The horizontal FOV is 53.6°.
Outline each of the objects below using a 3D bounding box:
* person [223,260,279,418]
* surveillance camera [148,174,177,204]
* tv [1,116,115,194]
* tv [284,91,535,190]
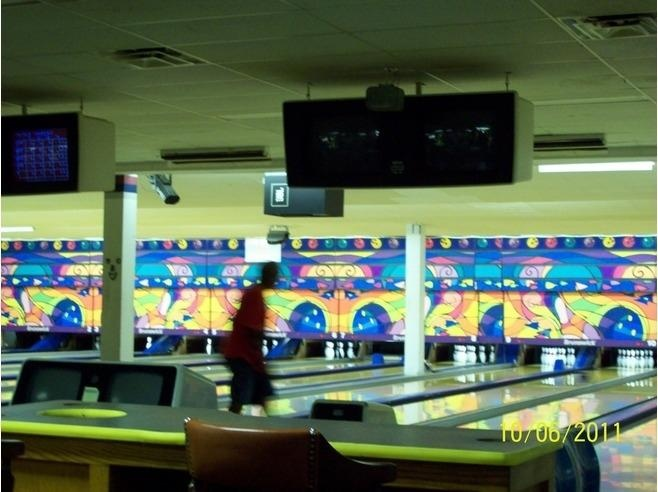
[{"bbox_3d":[-0.614,0.712,5.074,0.397,1.200,0.488,2,-4,-10],"label":"person"},{"bbox_3d":[-2.123,-0.715,8.286,0.343,0.393,0.984,2,-4,-16],"label":"surveillance camera"},{"bbox_3d":[-1.817,-0.596,4.588,0.821,0.600,0.700,-1,-3,0],"label":"tv"},{"bbox_3d":[0.401,-0.634,3.965,1.392,0.533,0.180,0,-4,14],"label":"tv"}]
